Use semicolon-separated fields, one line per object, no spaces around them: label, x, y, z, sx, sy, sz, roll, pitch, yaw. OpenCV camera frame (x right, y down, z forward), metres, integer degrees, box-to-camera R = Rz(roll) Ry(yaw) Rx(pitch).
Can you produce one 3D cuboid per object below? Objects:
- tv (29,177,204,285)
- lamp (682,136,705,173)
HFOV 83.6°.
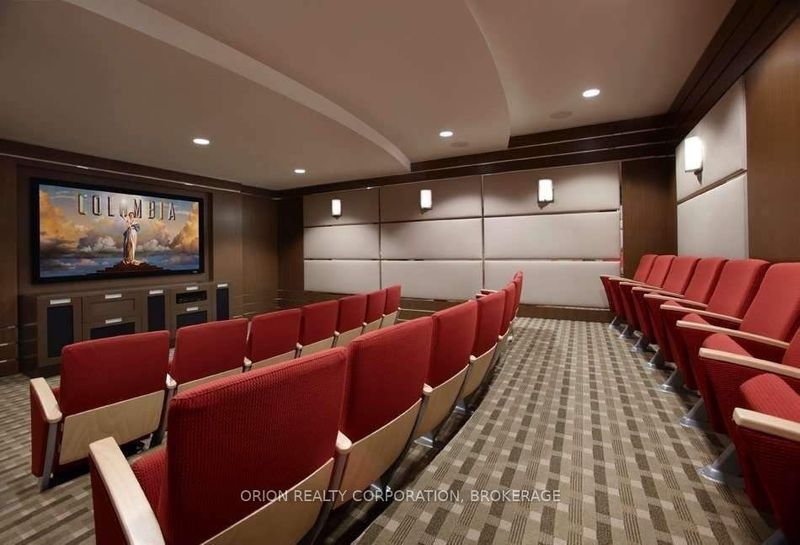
tv;-3.987;-0.579;6.191;0.040;0.962;1.626;0;1;31
lamp;3.283;-1.348;5.070;0.123;0.393;0.318;-2;9;-11
